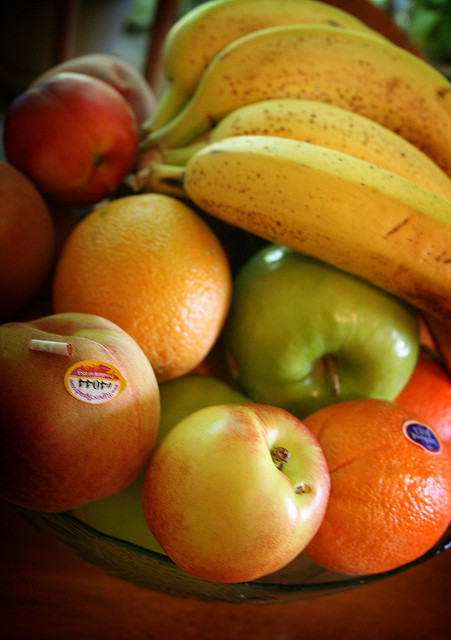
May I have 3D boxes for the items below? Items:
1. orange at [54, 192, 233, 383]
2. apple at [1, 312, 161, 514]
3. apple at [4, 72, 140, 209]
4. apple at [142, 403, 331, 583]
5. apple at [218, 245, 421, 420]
[{"bbox_3d":[-0.079,-0.028,0.653,0.211,0.187,0.201,-1,87,-18],"label":"orange"},{"bbox_3d":[-0.100,0.055,0.540,0.199,0.134,0.156,-12,36,-22],"label":"apple"},{"bbox_3d":[-0.152,-0.192,0.652,0.149,0.128,0.141,-6,23,4],"label":"apple"},{"bbox_3d":[0.012,0.128,0.457,0.148,0.081,0.128,0,49,-12],"label":"apple"},{"bbox_3d":[0.099,0.001,0.678,0.190,0.208,0.164,0,29,2],"label":"apple"}]
